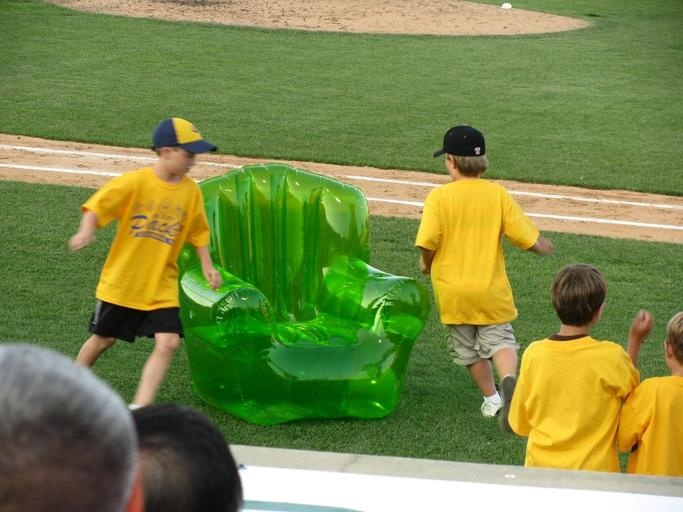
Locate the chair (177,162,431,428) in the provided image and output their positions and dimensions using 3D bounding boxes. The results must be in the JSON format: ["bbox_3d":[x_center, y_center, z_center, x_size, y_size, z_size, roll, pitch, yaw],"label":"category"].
[{"bbox_3d":[-0.316,0.195,5.736,1.559,1.376,1.315,-3,13,-36],"label":"chair"}]

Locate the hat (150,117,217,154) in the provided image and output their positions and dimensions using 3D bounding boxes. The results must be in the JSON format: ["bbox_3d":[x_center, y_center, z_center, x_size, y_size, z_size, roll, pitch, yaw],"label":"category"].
[{"bbox_3d":[-0.899,-0.683,5.046,0.328,0.153,0.199,-1,14,3],"label":"hat"}]

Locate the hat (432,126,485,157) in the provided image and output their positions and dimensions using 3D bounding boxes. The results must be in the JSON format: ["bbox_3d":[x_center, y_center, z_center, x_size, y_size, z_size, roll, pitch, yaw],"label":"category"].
[{"bbox_3d":[0.730,-0.692,5.555,0.213,0.150,0.271,-12,22,-40],"label":"hat"}]

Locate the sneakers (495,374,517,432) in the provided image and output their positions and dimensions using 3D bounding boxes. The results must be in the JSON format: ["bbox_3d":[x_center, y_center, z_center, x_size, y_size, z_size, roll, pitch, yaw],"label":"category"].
[{"bbox_3d":[0.985,0.852,5.317,0.125,0.340,0.153,-8,6,-26],"label":"sneakers"}]
